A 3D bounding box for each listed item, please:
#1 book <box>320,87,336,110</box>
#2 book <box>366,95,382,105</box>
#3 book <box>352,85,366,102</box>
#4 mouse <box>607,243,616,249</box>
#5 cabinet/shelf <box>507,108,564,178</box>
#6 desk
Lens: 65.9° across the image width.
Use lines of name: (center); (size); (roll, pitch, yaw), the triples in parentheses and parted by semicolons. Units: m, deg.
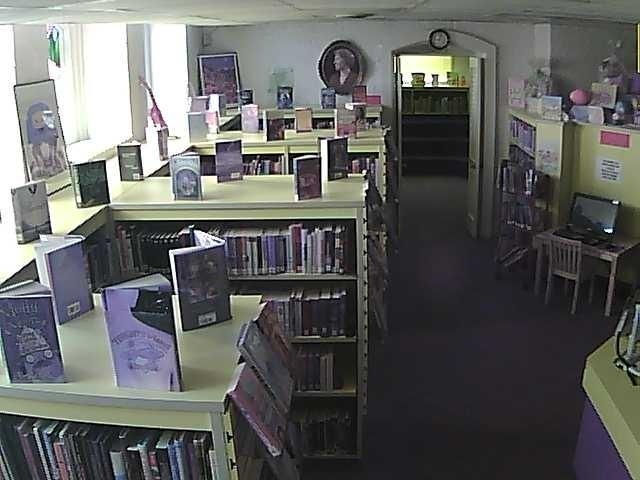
book: (0.150, -2.362, 8.307); (0.311, 0.452, 0.326); (0, 4, 3)
book: (0.893, -2.337, 8.300); (0.188, 0.122, 0.191); (1, 13, 4)
book: (0.615, -2.274, 7.706); (0.189, 0.227, 0.231); (1, 17, 14)
mouse: (3.340, 0.063, 5.660); (0.095, 0.030, 0.221); (7, 19, 30)
cabinet/shelf: (3.069, -1.394, 7.022); (0.260, 0.779, 1.475); (-2, 17, 5)
desk: (3.249, 0.165, 6.036); (1.169, 0.912, 0.943); (17, 32, 35)
